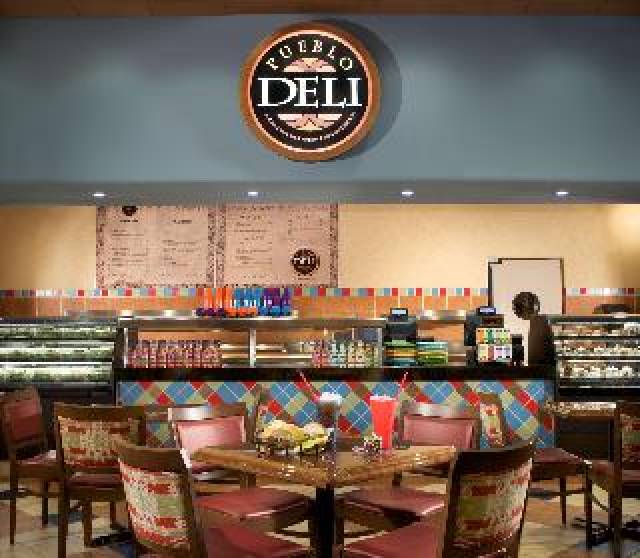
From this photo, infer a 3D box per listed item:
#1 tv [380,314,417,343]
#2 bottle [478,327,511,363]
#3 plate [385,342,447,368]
[{"bbox_3d":[0.750,0.447,5.517,0.280,0.182,0.253,-1,-8,3],"label":"tv"},{"bbox_3d":[1.608,0.604,5.389,0.352,0.323,0.203,0,-3,2],"label":"bottle"},{"bbox_3d":[0.853,0.661,5.255,0.558,0.206,0.254,-1,-3,6],"label":"plate"}]
